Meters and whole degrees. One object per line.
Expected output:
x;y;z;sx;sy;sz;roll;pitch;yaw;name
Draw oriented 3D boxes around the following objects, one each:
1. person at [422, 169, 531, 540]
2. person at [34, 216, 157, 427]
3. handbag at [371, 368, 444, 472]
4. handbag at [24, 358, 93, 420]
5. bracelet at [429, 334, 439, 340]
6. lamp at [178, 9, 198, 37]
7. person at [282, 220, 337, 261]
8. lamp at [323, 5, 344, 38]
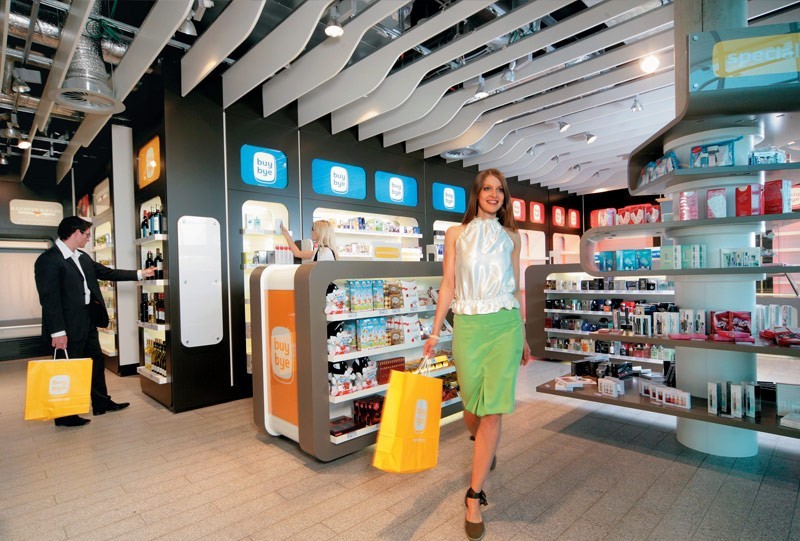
0.727;0.681;4.504;0.793;3.253;0.557;-1;0;7;person
-4.143;0.589;6.379;0.481;2.632;0.740;-1;0;15;person
0.065;1.286;4.268;0.603;0.869;0.150;-1;0;-19;handbag
-3.978;1.375;5.824;0.853;0.814;0.326;0;4;-22;handbag
0.301;0.579;4.418;0.084;0.050;0.114;-1;0;7;bracelet
-2.700;-3.108;6.360;0.216;0.282;0.613;-1;0;-23;lamp
-1.116;-0.379;6.442;0.459;0.503;1.108;-1;0;-18;person
-0.770;-2.930;5.849;0.174;0.370;0.236;-1;0;-7;lamp
